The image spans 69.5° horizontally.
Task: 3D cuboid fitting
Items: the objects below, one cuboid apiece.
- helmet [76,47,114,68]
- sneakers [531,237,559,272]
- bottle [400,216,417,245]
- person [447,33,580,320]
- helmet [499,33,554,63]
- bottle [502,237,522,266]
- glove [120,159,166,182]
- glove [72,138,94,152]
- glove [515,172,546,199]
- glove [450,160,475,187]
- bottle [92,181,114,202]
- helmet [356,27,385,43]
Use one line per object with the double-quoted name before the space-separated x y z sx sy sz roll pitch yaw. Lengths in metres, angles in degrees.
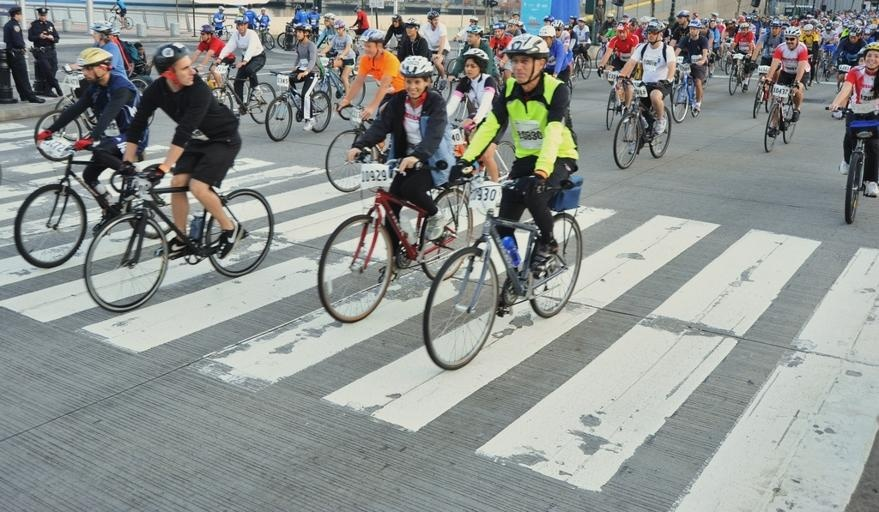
"helmet" -4.678 -2.729 8.845 0.397 0.254 0.552 14 19 32
"sneakers" 1.139 -0.031 7.060 0.391 0.261 0.135 -40 39 -13
"bottle" -0.353 -0.378 7.670 0.176 0.396 0.432 2 23 9
"person" 0.907 -0.781 7.112 1.170 3.204 1.173 3 24 10
"helmet" 0.943 -2.188 6.651 0.404 0.159 0.271 -7 23 -28
"bottle" 0.769 -0.037 6.931 0.276 0.378 0.102 -22 31 -39
"glove" -3.486 -1.001 7.494 0.535 0.191 0.282 6 29 0
"glove" -4.632 -1.450 8.276 0.180 0.079 0.218 -8 11 -14
"glove" 0.976 -0.742 6.634 0.249 0.312 0.510 7 24 19
"glove" 0.260 -0.932 7.039 0.320 0.104 0.229 -23 26 -27
"bottle" -4.558 -0.906 8.625 0.372 0.147 0.131 35 52 2
"helmet" -1.233 -4.296 12.414 0.498 0.208 0.654 7 31 11
